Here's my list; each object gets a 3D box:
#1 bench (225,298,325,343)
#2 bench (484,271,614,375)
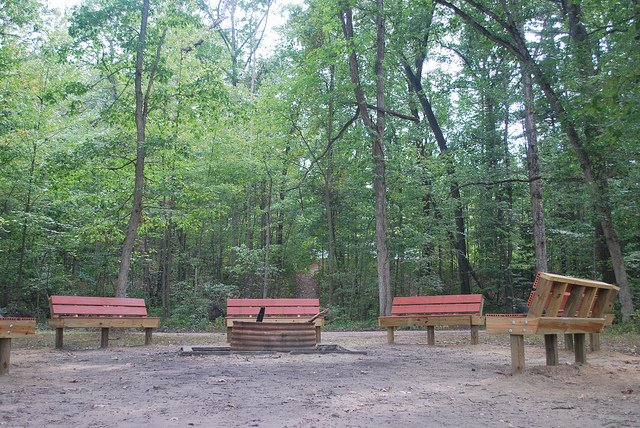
[{"bbox_3d":[-1.610,3.643,20.967,3.290,1.122,1.044,1,3,-4],"label":"bench"},{"bbox_3d":[7.028,3.260,18.304,2.164,2.442,5.233,-4,-10,40],"label":"bench"}]
